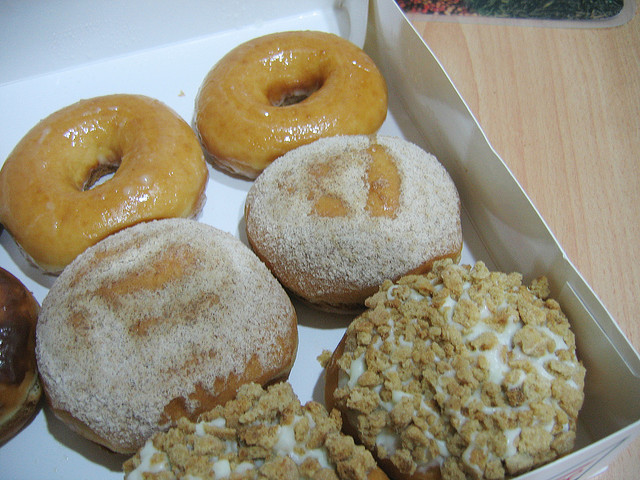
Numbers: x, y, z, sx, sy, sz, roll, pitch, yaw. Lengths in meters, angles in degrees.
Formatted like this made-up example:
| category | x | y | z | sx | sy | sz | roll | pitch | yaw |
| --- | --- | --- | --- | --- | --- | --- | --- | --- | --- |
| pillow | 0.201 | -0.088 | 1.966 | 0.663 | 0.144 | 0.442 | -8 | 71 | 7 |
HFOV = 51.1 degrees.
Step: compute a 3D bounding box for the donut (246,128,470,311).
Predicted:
| category | x | y | z | sx | sy | sz | roll | pitch | yaw |
| --- | --- | --- | --- | --- | --- | --- | --- | --- | --- |
| donut | 0.079 | -0.047 | 1.515 | 0.365 | 0.208 | 0.458 | 9 | 53 | 8 |
